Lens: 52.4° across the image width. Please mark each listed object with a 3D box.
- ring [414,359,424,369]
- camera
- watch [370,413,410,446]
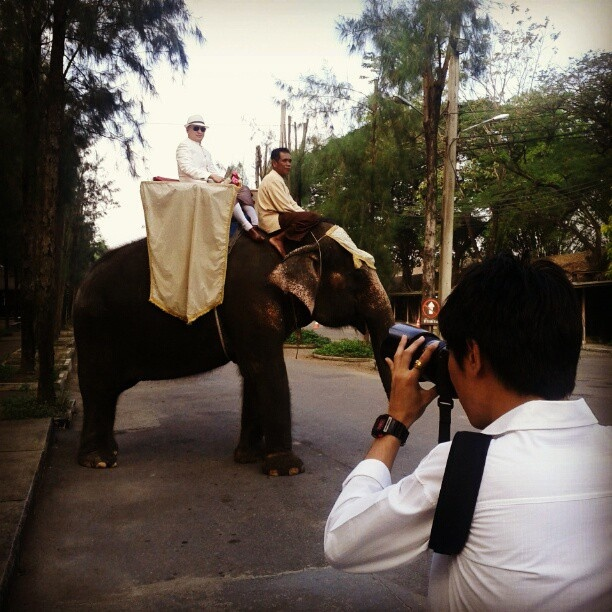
[{"bbox_3d":[0.304,0.157,1.685,0.017,0.019,0.006,38,17,31],"label":"ring"},{"bbox_3d":[0.322,0.141,1.765,0.290,0.171,0.168,9,9,-26],"label":"camera"},{"bbox_3d":[0.223,0.307,1.661,0.092,0.082,0.102,-13,-38,39],"label":"watch"}]
